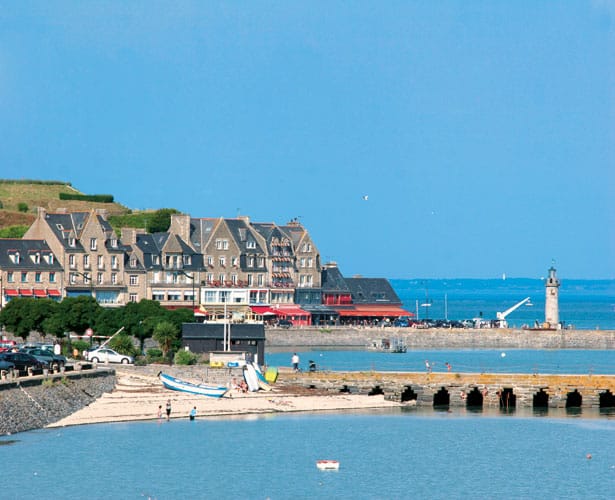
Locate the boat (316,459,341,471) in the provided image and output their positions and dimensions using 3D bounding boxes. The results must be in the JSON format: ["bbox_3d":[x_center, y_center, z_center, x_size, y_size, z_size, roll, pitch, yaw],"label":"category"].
[{"bbox_3d":[1.495,15.062,112.665,1.661,0.650,1.077,3,7,1],"label":"boat"}]

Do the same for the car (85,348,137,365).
[{"bbox_3d":[-17.565,9.412,141.561,3.685,1.213,1.573,0,3,3],"label":"car"}]

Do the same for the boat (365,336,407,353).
[{"bbox_3d":[9.708,11.431,192.010,4.535,1.637,1.824,3,1,42],"label":"boat"}]
